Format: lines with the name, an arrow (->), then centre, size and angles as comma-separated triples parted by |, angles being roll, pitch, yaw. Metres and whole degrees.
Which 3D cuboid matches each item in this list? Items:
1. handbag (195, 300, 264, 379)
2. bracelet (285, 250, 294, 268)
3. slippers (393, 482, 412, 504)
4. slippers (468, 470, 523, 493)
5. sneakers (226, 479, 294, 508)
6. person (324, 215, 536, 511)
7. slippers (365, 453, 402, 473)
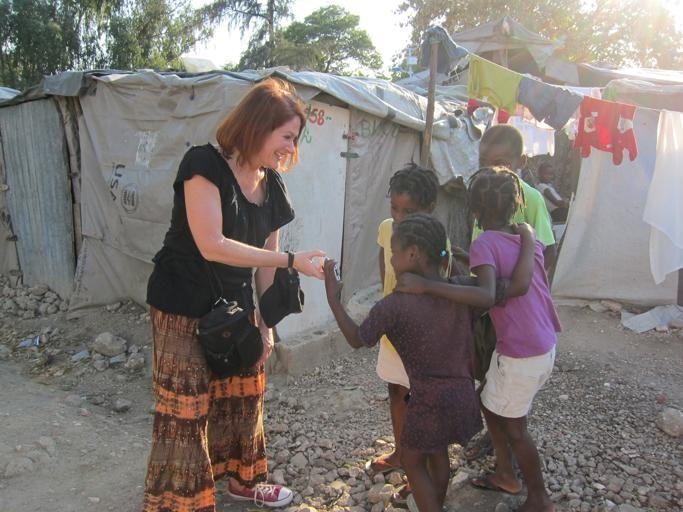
handbag -> -0.784, 0.562, 3.908 | 0.324, 0.400, 0.207 | -40, 43, -24
bracelet -> -0.346, 0.021, 3.890 | 0.061, 0.091, 0.063 | 5, 1, -23
slippers -> 0.409, 1.788, 4.373 | 0.231, 0.103, 0.090 | -1, -2, 21
slippers -> 1.174, 1.720, 4.378 | 0.321, 0.102, 0.145 | 3, 8, 31
sneakers -> -0.631, 1.803, 4.405 | 0.450, 0.206, 0.223 | 2, 17, 3
person -> 0.619, 0.694, 3.944 | 1.410, 1.926, 0.680 | -3, 14, -14
slippers -> 0.347, 1.708, 4.740 | 0.294, 0.138, 0.085 | -19, -34, 22
